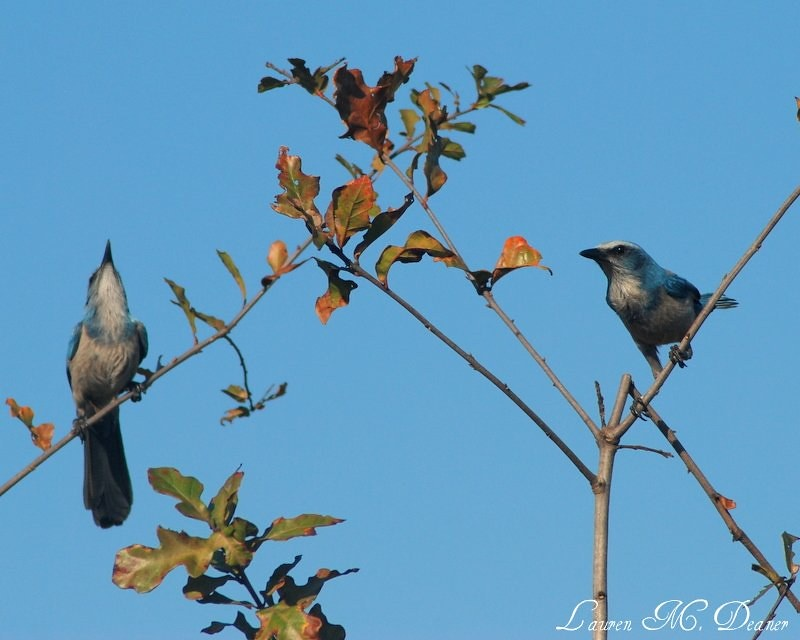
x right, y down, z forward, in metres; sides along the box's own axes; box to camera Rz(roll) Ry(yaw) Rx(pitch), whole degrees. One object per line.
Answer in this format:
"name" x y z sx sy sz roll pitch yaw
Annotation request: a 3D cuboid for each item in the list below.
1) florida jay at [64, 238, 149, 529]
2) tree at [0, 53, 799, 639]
"florida jay" -1.841 0.432 10.361 0.466 1.844 0.748 -1 4 -11
"tree" 0.197 0.138 8.684 3.907 2.267 2.781 -2 -3 -26
